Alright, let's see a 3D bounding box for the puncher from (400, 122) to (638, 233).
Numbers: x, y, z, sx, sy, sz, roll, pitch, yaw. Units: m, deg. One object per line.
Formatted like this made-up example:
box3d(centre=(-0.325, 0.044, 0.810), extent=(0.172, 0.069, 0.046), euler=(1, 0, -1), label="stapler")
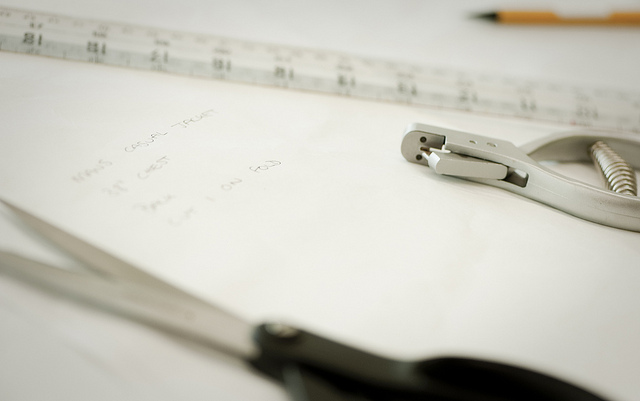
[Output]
box3d(centre=(0.358, -0.051, 1.125), extent=(0.248, 0.263, 0.293), euler=(1, 0, -42), label="puncher")
